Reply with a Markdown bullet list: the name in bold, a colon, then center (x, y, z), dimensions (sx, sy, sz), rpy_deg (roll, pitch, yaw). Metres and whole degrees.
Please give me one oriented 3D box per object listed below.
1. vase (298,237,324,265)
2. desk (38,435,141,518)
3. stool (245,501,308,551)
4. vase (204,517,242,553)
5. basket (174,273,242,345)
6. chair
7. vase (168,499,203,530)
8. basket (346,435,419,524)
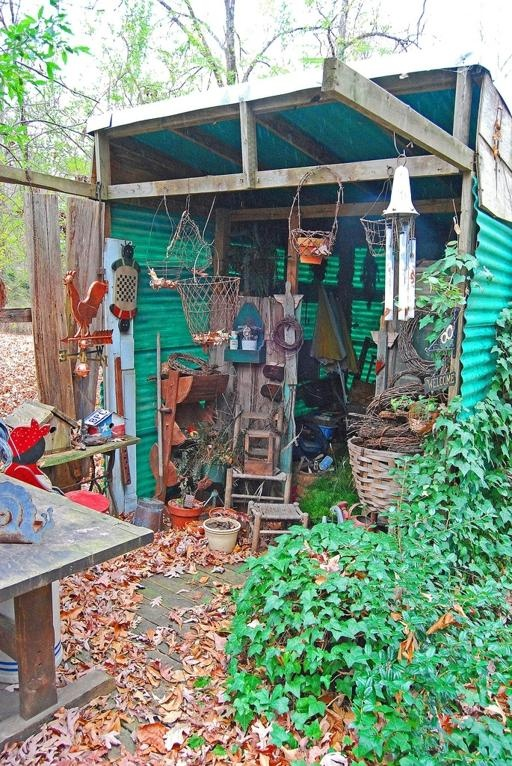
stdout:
- **vase**: center (0.498, -1.109, 4.677), dimensions (0.245, 0.175, 0.218), rpy_deg (-12, 17, -40)
- **desk**: center (-1.300, 0.729, 4.337), dimensions (0.427, 0.607, 0.852), rpy_deg (16, 19, 41)
- **stool**: center (0.182, 1.154, 4.725), dimensions (0.469, 0.382, 0.466), rpy_deg (0, 2, -6)
- **vase**: center (-0.284, 1.276, 4.638), dimensions (0.271, 0.188, 0.264), rpy_deg (0, 0, -8)
- **basket**: center (-0.469, -0.799, 5.901), dimensions (0.829, 0.791, 0.806), rpy_deg (-3, 11, -20)
- **chair**: center (-0.003, 0.756, 5.356), dimensions (0.669, 0.938, 0.671), rpy_deg (-9, 8, 2)
- **vase**: center (-0.671, 1.235, 5.190), dimensions (0.259, 0.183, 0.253), rpy_deg (1, -3, -3)
- **basket**: center (0.825, 0.728, 4.051), dimensions (0.466, 0.495, 0.503), rpy_deg (1, -2, -15)
